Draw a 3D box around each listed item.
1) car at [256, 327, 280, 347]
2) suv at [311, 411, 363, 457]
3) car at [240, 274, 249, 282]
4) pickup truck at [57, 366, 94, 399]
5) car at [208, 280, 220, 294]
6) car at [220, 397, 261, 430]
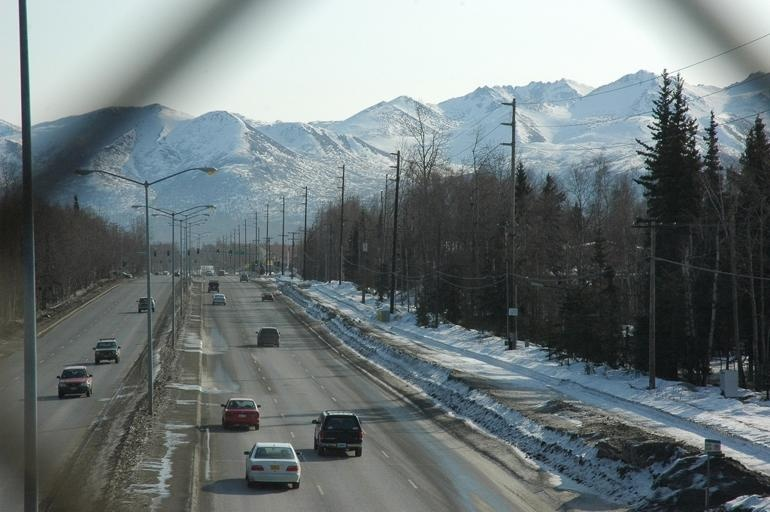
[{"bbox_3d":[-13.362,9.298,104.366,2.463,2.089,0.965,-1,-3,17],"label":"car"},{"bbox_3d":[-3.371,12.899,66.094,3.328,3.150,1.556,1,-3,0],"label":"suv"},{"bbox_3d":[-29.230,4.447,189.260,1.731,1.562,2.981,1,-11,-9],"label":"car"},{"bbox_3d":[-26.550,10.858,78.460,1.932,1.704,3.416,1,-11,-12],"label":"pickup truck"},{"bbox_3d":[-30.360,5.495,162.093,1.513,1.464,2.564,1,4,-3],"label":"car"},{"bbox_3d":[-11.208,12.370,71.140,2.840,2.301,1.865,1,-4,-8],"label":"car"}]
